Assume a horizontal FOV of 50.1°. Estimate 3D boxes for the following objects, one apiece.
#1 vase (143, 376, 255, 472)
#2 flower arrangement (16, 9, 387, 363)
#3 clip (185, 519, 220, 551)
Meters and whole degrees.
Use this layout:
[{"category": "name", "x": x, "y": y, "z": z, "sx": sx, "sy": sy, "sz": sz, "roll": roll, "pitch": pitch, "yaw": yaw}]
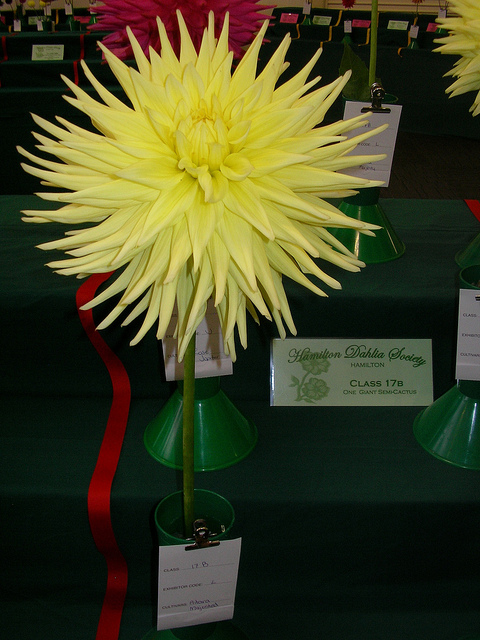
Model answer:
[{"category": "vase", "x": -0.054, "y": 0.108, "z": 0.664, "sx": 0.156, "sy": 0.091, "sz": 0.155, "roll": 0, "pitch": 19, "yaw": -1}, {"category": "flower arrangement", "x": -0.019, "y": -0.099, "z": 0.333, "sx": 0.198, "sy": 0.075, "sz": 0.191, "roll": -2, "pitch": -8, "yaw": -27}, {"category": "clip", "x": -0.030, "y": 0.171, "z": 0.405, "sx": 0.018, "sy": 0.025, "sz": 0.014, "roll": 2, "pitch": -13, "yaw": -7}]
